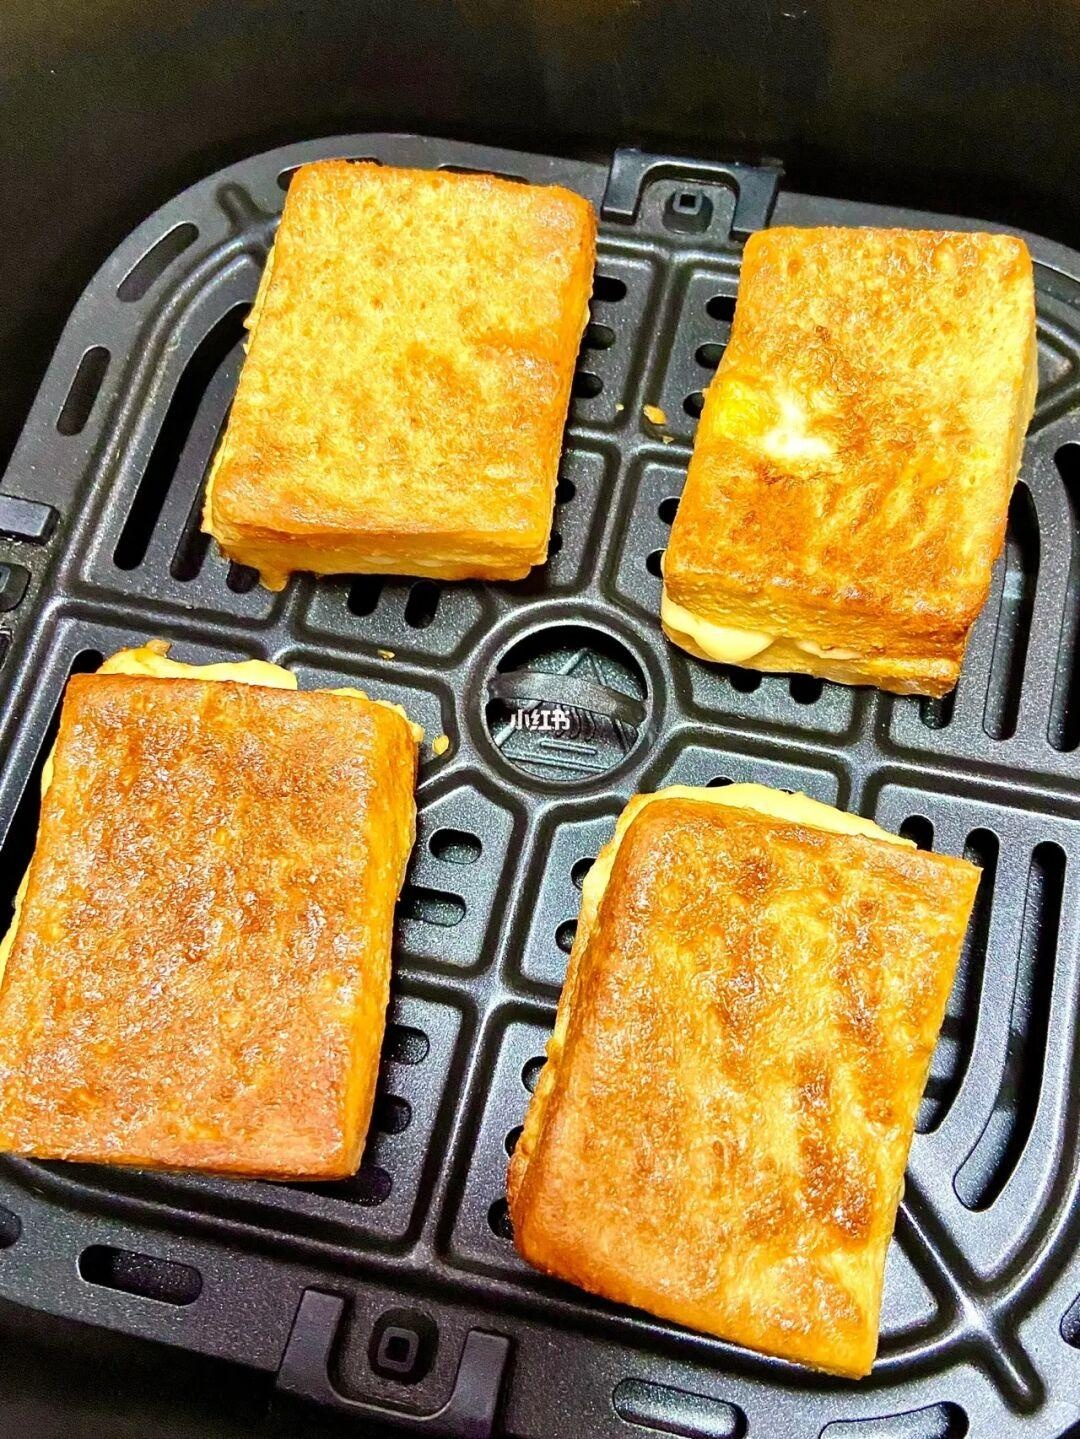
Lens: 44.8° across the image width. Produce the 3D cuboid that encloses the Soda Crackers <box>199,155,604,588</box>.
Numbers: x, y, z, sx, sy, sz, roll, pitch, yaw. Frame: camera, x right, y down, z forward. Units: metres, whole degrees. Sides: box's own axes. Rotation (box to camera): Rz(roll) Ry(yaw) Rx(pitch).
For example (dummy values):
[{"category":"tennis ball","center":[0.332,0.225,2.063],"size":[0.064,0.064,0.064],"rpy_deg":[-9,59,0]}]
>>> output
[{"category":"Soda Crackers","center":[-0.102,-0.267,1.063],"size":[0.329,0.091,0.313],"rpy_deg":[5,77,5]}]
